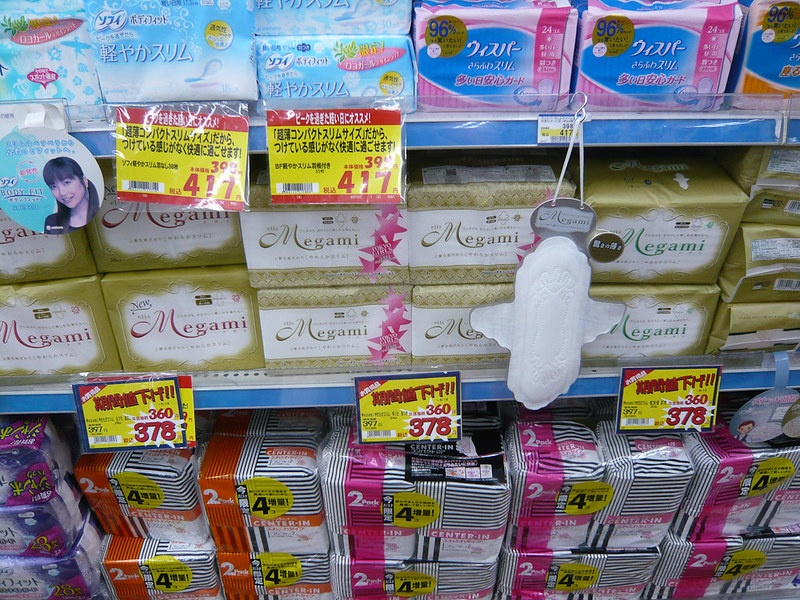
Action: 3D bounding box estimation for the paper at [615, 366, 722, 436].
[{"bbox_3d":[0.752,0.280,1.904,0.233,0.155,0.009,-2,22,-1],"label":"paper"}]

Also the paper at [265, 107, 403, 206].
[{"bbox_3d":[-0.147,-0.349,1.605,0.375,0.231,0.006,-9,19,-33],"label":"paper"}]

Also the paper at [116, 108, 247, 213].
[{"bbox_3d":[-0.506,-0.340,1.575,0.262,0.167,0.011,2,8,-1],"label":"paper"}]

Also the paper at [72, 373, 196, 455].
[{"bbox_3d":[-0.723,0.318,1.807,0.341,0.213,0.078,0,16,0],"label":"paper"}]

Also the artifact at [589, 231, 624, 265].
[{"bbox_3d":[0.525,-0.138,1.724,0.085,0.079,0.025,-11,29,7],"label":"artifact"}]

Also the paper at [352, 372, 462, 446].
[{"bbox_3d":[0.021,0.298,1.881,0.230,0.145,0.029,-3,25,0],"label":"paper"}]

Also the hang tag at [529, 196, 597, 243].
[{"bbox_3d":[0.402,-0.203,1.659,0.151,0.101,0.037,10,19,-4],"label":"hang tag"}]
